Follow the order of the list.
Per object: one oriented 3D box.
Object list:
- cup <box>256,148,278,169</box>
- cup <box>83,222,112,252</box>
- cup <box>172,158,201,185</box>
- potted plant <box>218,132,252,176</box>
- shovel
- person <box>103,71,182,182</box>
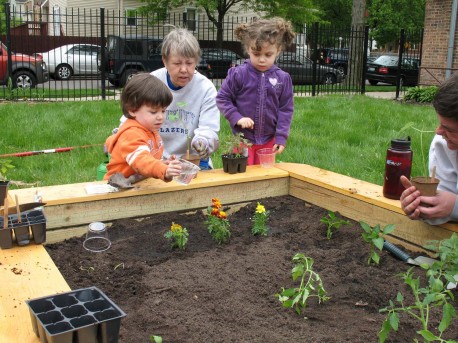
[{"bbox_3d":[0.349,-0.119,4.005,0.161,0.125,0.155,0,16,0],"label":"cup"},{"bbox_3d":[-0.875,0.442,2.869,0.172,0.138,0.177,3,13,-1],"label":"cup"},{"bbox_3d":[-0.336,0.014,3.247,0.186,0.186,0.235,-4,12,-15],"label":"cup"},{"bbox_3d":[0.080,-0.129,3.929,0.200,0.318,0.283,-4,-4,-1],"label":"potted plant"},{"bbox_3d":[1.204,0.541,2.813,0.143,0.080,0.438,-16,22,-21],"label":"shovel"},{"bbox_3d":[-0.678,-0.297,3.262,0.541,0.828,0.620,-5,12,-17],"label":"person"}]
